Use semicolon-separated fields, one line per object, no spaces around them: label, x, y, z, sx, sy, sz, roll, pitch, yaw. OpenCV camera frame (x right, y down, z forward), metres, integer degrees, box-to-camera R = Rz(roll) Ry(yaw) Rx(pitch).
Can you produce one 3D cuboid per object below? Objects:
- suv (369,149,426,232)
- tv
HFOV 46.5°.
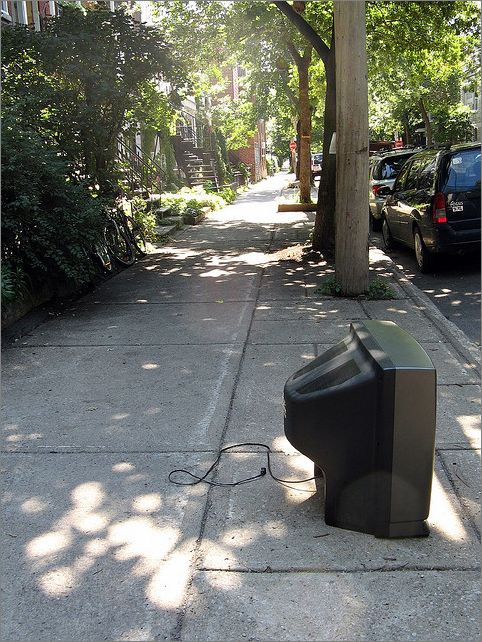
suv;3.611;-3.375;14.202;1.621;1.691;3.084;-3;20;4
tv;0.527;0.471;2.702;0.848;0.776;1.042;4;11;11
